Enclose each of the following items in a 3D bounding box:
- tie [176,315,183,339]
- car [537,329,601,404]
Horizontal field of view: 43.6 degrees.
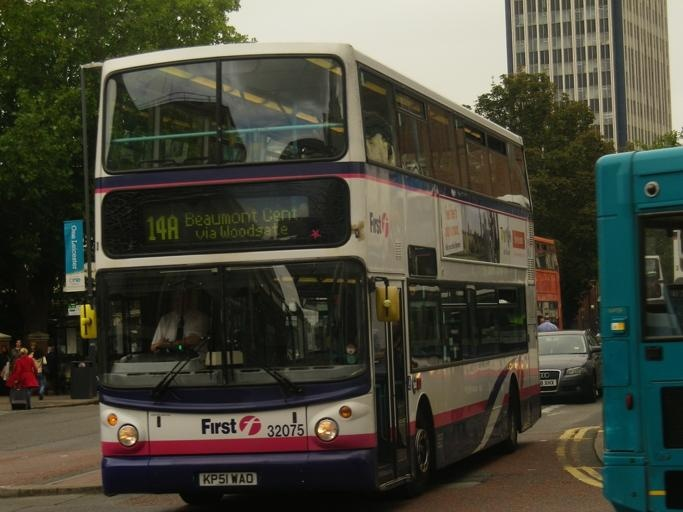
[{"bbox_3d":[-1.668,0.749,8.825,0.085,0.233,0.037,-3,-6,4],"label":"tie"},{"bbox_3d":[5.945,2.839,22.420,1.295,1.150,3.208,-3,-8,17],"label":"car"}]
